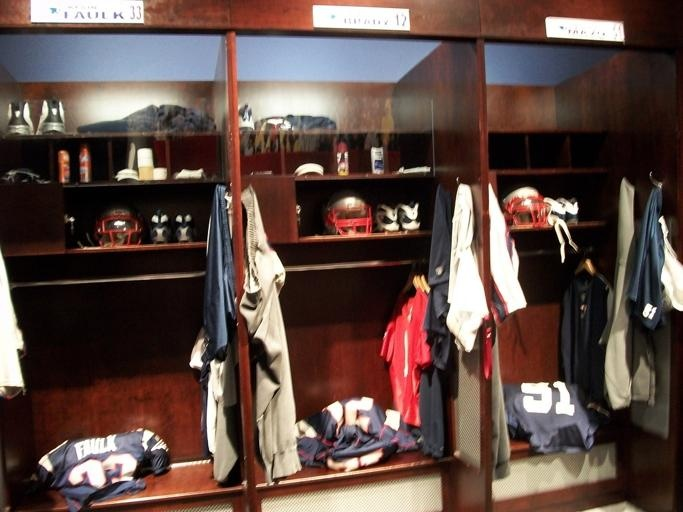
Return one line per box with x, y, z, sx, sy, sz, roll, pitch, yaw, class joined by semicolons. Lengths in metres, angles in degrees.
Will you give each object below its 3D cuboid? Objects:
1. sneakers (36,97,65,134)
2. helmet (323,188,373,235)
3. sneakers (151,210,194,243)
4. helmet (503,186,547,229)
-1.570;-0.770;3.228;0.114;0.187;0.085;-1;-6;-27;sneakers
0.046;-0.243;3.476;0.222;0.297;0.326;-3;3;-12;helmet
-0.941;-0.161;3.257;0.128;0.132;0.271;-1;3;-7;sneakers
1.132;-0.279;3.652;0.185;0.206;0.235;2;-10;-17;helmet
